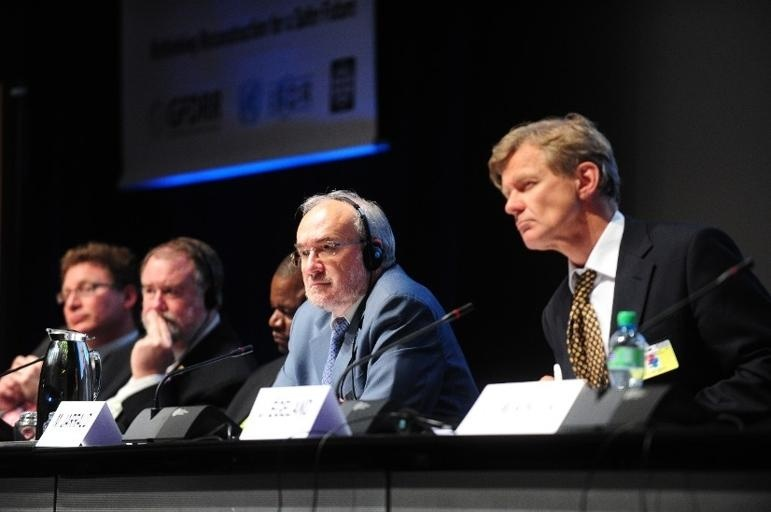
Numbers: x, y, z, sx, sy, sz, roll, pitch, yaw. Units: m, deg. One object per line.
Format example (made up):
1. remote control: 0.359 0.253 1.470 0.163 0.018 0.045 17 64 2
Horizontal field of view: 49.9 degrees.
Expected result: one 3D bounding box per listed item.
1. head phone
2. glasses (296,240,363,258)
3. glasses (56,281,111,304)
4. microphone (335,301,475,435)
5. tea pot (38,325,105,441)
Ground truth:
1. head phone: -0.219 -0.101 3.557 0.396 0.321 0.138 -5 8 14
2. glasses: -0.234 -0.035 3.520 0.127 0.034 0.131 -14 -9 42
3. glasses: -1.549 0.184 4.252 0.160 0.047 0.165 -16 -9 26
4. microphone: 0.042 0.298 2.796 0.072 0.219 0.724 -3 -19 -36
5. tea pot: -1.069 0.434 2.826 0.206 0.361 0.344 0 -1 -21
